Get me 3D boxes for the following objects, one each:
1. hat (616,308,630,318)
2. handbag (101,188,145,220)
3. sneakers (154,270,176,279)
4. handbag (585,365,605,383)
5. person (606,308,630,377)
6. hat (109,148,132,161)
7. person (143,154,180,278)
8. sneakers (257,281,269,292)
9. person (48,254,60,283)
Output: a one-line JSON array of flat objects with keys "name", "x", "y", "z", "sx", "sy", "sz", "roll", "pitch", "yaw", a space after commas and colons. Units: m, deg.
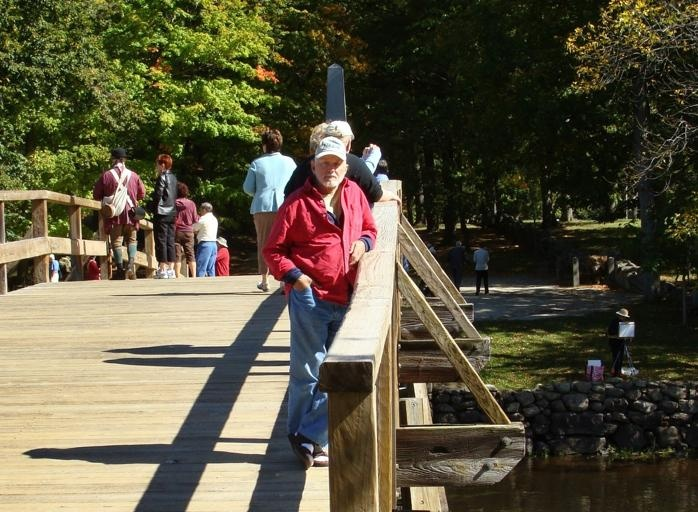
[{"name": "hat", "x": 7.324, "y": 1.544, "z": 34.321, "sx": 0.332, "sy": 0.126, "sz": 0.340, "roll": 17, "pitch": 15, "yaw": 40}, {"name": "handbag", "x": -4.760, "y": -1.167, "z": 27.441, "sx": 0.865, "sy": 0.837, "sz": 0.581, "roll": -1, "pitch": 8, "yaw": -19}, {"name": "sneakers", "x": -3.928, "y": 0.407, "z": 28.178, "sx": 0.191, "sy": 0.208, "sz": 0.498, "roll": -2, "pitch": 5, "yaw": -20}, {"name": "handbag", "x": 6.227, "y": 2.985, "z": 32.589, "sx": 0.371, "sy": 0.466, "sz": 0.505, "roll": 2, "pitch": -1, "yaw": 40}, {"name": "person", "x": 6.856, "y": 2.220, "z": 32.760, "sx": 0.456, "sy": 1.782, "sz": 0.989, "roll": 4, "pitch": 8, "yaw": 12}, {"name": "hat", "x": -4.782, "y": -2.125, "z": 27.526, "sx": 0.422, "sy": 0.337, "sz": 0.420, "roll": 1, "pitch": 3, "yaw": -13}, {"name": "person", "x": -3.949, "y": -0.804, "z": 27.835, "sx": 0.583, "sy": 2.743, "sz": 1.064, "roll": 1, "pitch": 8, "yaw": -8}, {"name": "sneakers", "x": -1.636, "y": 0.631, "z": 25.504, "sx": 0.111, "sy": 0.137, "sz": 0.290, "roll": -2, "pitch": 9, "yaw": -12}, {"name": "person", "x": -8.033, "y": 0.366, "z": 35.637, "sx": 0.239, "sy": 0.684, "sz": 2.188, "roll": 0, "pitch": 8, "yaw": -13}]
